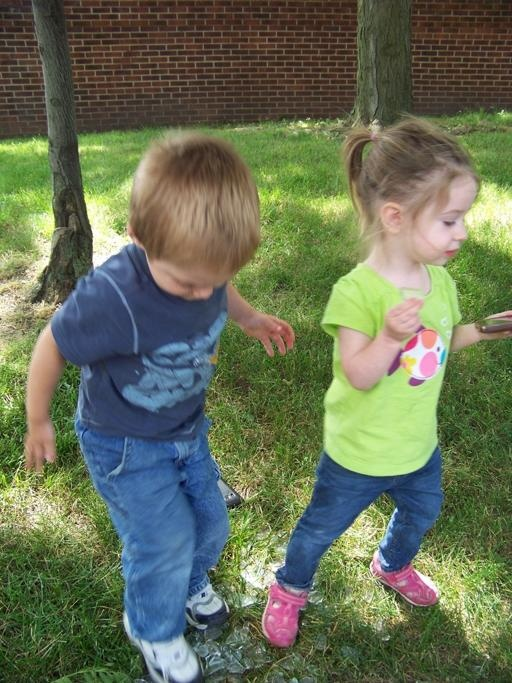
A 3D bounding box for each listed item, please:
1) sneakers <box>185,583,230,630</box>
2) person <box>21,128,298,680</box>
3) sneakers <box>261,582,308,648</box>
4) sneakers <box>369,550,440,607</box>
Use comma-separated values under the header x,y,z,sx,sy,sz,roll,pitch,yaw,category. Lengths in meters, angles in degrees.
x,y,z,sx,sy,sz,roll,pitch,yaw,category
-0.157,0.818,1.916,0.082,0.076,0.173,-2,1,-33,sneakers
-0.178,0.213,1.639,0.544,1.445,0.700,20,31,33,person
0.084,0.833,1.838,0.095,0.092,0.217,22,20,-9,sneakers
0.509,0.795,2.057,0.215,0.088,0.103,28,28,13,sneakers
